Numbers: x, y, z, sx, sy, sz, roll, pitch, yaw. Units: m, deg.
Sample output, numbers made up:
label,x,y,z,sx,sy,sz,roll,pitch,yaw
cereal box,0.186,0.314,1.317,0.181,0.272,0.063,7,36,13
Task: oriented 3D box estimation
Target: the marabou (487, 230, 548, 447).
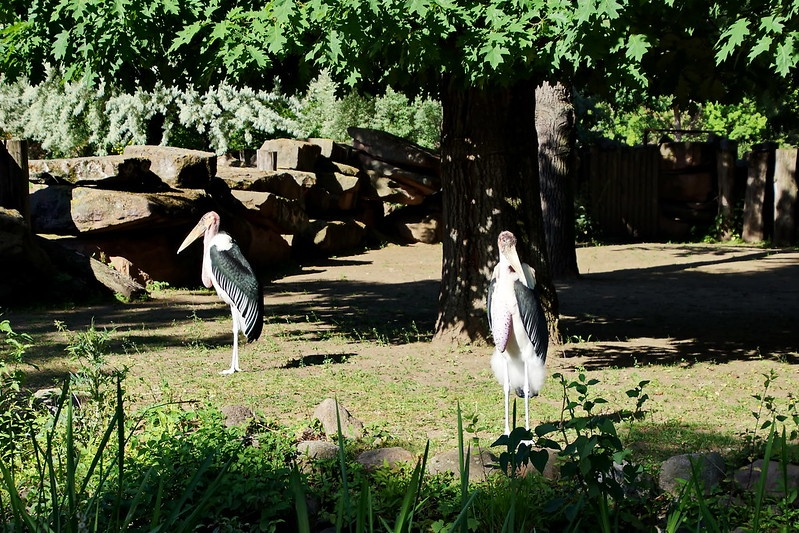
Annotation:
label,x,y,z,sx,sy,sz,roll,pitch,yaw
marabou,1.148,0.593,9.140,0.564,1.214,0.530,-5,2,1
